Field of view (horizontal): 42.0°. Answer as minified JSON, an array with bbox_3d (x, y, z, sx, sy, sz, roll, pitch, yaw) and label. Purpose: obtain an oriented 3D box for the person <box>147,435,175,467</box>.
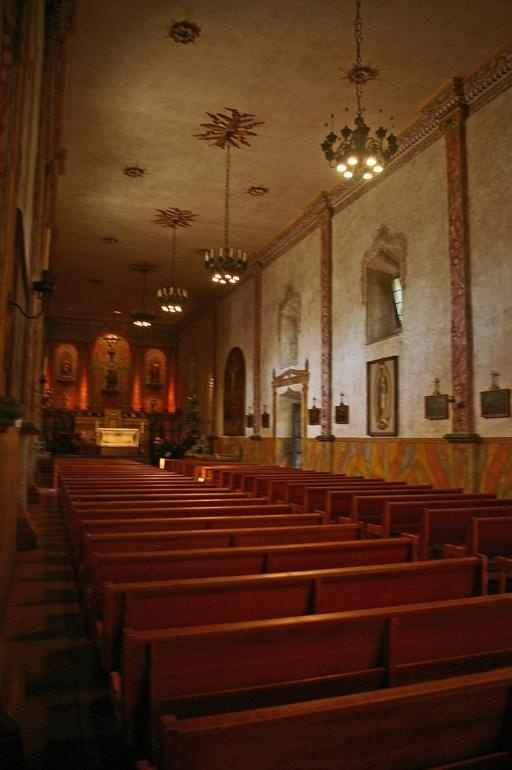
[{"bbox_3d":[-3.349,2.205,22.375,1.024,1.274,0.963,0,-16,8],"label":"person"}]
